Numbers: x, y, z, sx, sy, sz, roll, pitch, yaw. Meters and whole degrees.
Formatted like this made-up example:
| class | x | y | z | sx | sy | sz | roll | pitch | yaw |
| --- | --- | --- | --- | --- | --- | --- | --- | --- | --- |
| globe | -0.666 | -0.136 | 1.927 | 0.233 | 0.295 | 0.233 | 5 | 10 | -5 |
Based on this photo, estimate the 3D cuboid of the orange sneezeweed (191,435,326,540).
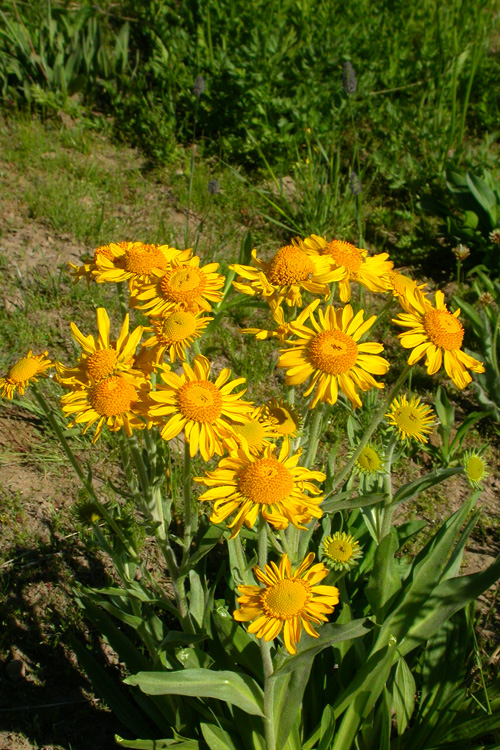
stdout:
| class | x | y | z | sx | sy | sz | roll | pitch | yaw |
| --- | --- | --- | --- | --- | --- | --- | --- | --- | --- |
| orange sneezeweed | 0.032 | 0.274 | 1.577 | 0.333 | 0.090 | 0.319 | -4 | 22 | -34 |

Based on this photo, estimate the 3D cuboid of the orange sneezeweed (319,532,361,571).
| class | x | y | z | sx | sy | sz | roll | pitch | yaw |
| --- | --- | --- | --- | --- | --- | --- | --- | --- | --- |
| orange sneezeweed | 0.276 | 0.543 | 2.088 | 0.137 | 0.050 | 0.128 | 9 | 55 | -18 |

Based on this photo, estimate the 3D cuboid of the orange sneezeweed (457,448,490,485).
| class | x | y | z | sx | sy | sz | roll | pitch | yaw |
| --- | --- | --- | --- | --- | --- | --- | --- | --- | --- |
| orange sneezeweed | 0.805 | 0.337 | 2.408 | 0.064 | 0.172 | 0.181 | -8 | -19 | 36 |

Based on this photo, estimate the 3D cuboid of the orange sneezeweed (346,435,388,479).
| class | x | y | z | sx | sy | sz | roll | pitch | yaw |
| --- | --- | --- | --- | --- | --- | --- | --- | --- | --- |
| orange sneezeweed | 0.405 | 0.286 | 2.284 | 0.134 | 0.125 | 0.047 | 45 | -1 | 9 |

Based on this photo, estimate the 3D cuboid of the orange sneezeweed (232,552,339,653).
| class | x | y | z | sx | sy | sz | roll | pitch | yaw |
| --- | --- | --- | --- | --- | --- | --- | --- | --- | --- |
| orange sneezeweed | 0.090 | 0.533 | 1.565 | 0.259 | 0.091 | 0.262 | -2 | 30 | 31 |

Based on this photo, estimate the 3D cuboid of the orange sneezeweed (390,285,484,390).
| class | x | y | z | sx | sy | sz | roll | pitch | yaw |
| --- | --- | --- | --- | --- | --- | --- | --- | --- | --- |
| orange sneezeweed | 0.514 | -0.102 | 1.851 | 0.254 | 0.248 | 0.312 | 7 | 21 | -9 |

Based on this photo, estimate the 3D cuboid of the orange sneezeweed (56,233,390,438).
| class | x | y | z | sx | sy | sz | roll | pitch | yaw |
| --- | --- | --- | --- | --- | --- | --- | --- | --- | --- |
| orange sneezeweed | 0.003 | -0.157 | 2.084 | 0.814 | 0.239 | 0.579 | -24 | 51 | -19 |
